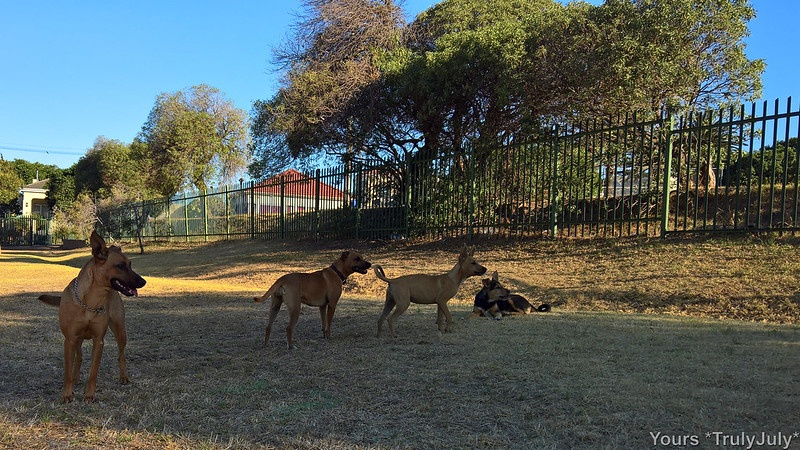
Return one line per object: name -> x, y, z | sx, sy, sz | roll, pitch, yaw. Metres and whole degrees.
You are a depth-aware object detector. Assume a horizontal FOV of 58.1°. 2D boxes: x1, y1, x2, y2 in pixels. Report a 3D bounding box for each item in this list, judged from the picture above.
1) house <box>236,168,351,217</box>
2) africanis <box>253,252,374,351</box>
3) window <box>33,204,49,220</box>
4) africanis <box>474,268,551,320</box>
house -> -5.203, -1.343, 32.676 | 0.952, 1.771, 8.508 | -13, 9, -37
africanis -> -2.135, 1.702, 17.009 | 3.090, 2.146, 0.746 | 0, 0, -41
window -> -35.083, -1.299, 70.097 | 0.185, 1.962, 1.943 | -26, -9, 27
africanis -> 2.944, 1.946, 18.661 | 2.251, 1.112, 0.692 | 11, -19, -21
